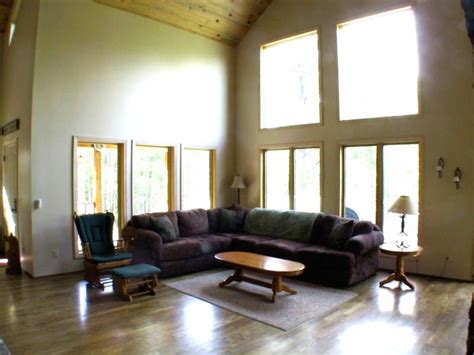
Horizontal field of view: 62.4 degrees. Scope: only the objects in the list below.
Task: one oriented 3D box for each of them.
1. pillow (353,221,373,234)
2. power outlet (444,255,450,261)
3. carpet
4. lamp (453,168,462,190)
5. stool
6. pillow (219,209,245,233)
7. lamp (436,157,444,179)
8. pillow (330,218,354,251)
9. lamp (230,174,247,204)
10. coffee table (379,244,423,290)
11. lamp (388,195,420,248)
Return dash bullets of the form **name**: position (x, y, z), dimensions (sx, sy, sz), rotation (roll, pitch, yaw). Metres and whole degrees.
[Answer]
- **pillow**: position (2.215, 0.879, 6.906), dimensions (0.248, 0.105, 0.256), rotation (-6, 20, 23)
- **power outlet**: position (3.686, 1.412, 6.846), dimensions (0.078, 0.087, 0.020), rotation (3, 10, 21)
- **carpet**: position (0.359, 1.855, 6.180), dimensions (2.661, 0.126, 1.658), rotation (5, 10, 30)
- **lamp**: position (3.815, 0.020, 6.768), dimensions (0.123, 0.364, 0.062), rotation (5, 11, 29)
- **stool**: position (-1.662, 1.631, 6.192), dimensions (0.616, 0.409, 0.542), rotation (-1, 3, -44)
- **pillow**: position (-0.129, 0.949, 8.350), dimensions (0.412, 0.410, 0.151), rotation (5, -25, -12)
- **lamp**: position (3.587, -0.158, 6.897), dimensions (0.117, 0.373, 0.064), rotation (5, 10, 28)
- **pillow**: position (1.819, 1.012, 6.777), dimensions (0.226, 0.464, 0.402), rotation (32, -16, -19)
- **lamp**: position (0.026, 0.310, 9.385), dimensions (0.380, 0.697, 0.547), rotation (0, 9, 0)
- **coffee table**: position (2.713, 1.497, 6.561), dimensions (0.596, 0.636, 0.628), rotation (2, 2, 42)
- **lamp**: position (2.891, 0.782, 6.857), dimensions (0.445, 1.009, 0.937), rotation (4, 10, 24)
